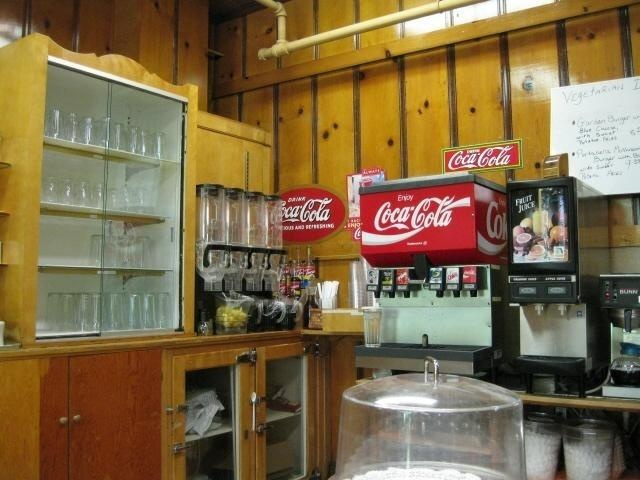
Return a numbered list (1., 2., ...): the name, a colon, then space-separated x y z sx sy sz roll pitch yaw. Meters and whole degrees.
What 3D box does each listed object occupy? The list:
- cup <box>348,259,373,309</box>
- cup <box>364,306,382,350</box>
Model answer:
1. cup: 0.273 0.302 4.174 0.150 0.340 0.177 -3 -5 -16
2. cup: 0.298 0.482 3.369 0.108 0.213 0.268 -5 -4 5
